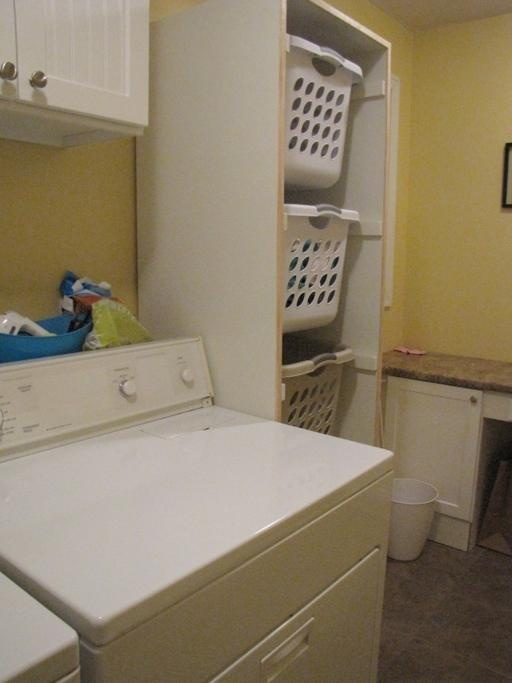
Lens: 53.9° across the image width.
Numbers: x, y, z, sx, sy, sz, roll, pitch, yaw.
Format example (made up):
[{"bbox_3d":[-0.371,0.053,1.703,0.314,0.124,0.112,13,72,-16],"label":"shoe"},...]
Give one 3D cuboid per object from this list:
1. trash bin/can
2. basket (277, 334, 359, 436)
[{"bbox_3d":[0.711,0.817,2.300,0.201,0.315,0.374,5,7,22],"label":"trash bin/can"},{"bbox_3d":[0.184,0.134,1.801,0.276,0.398,0.405,2,3,29],"label":"basket"}]
